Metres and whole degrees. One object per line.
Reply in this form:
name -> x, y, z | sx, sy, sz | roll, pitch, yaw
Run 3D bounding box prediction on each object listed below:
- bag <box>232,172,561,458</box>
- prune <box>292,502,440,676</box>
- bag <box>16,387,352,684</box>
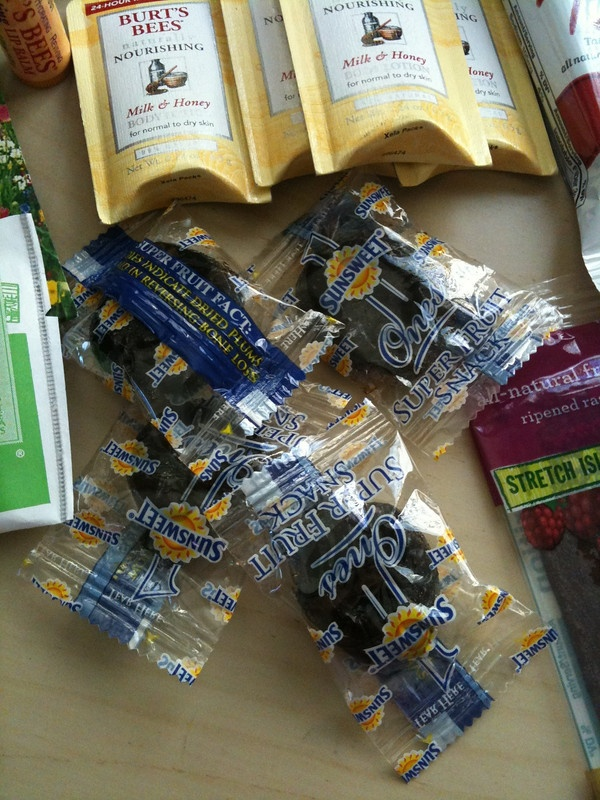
bag -> 0.101, -0.092, 0.843 | 0.356, 0.072, 0.250 | 41, 84, 2
prune -> 0.056, 0.163, 0.663 | 0.130, 0.058, 0.156 | -40, 79, 5
bag -> -0.107, 0.142, 0.697 | 0.219, 0.044, 0.254 | 34, 94, 13
